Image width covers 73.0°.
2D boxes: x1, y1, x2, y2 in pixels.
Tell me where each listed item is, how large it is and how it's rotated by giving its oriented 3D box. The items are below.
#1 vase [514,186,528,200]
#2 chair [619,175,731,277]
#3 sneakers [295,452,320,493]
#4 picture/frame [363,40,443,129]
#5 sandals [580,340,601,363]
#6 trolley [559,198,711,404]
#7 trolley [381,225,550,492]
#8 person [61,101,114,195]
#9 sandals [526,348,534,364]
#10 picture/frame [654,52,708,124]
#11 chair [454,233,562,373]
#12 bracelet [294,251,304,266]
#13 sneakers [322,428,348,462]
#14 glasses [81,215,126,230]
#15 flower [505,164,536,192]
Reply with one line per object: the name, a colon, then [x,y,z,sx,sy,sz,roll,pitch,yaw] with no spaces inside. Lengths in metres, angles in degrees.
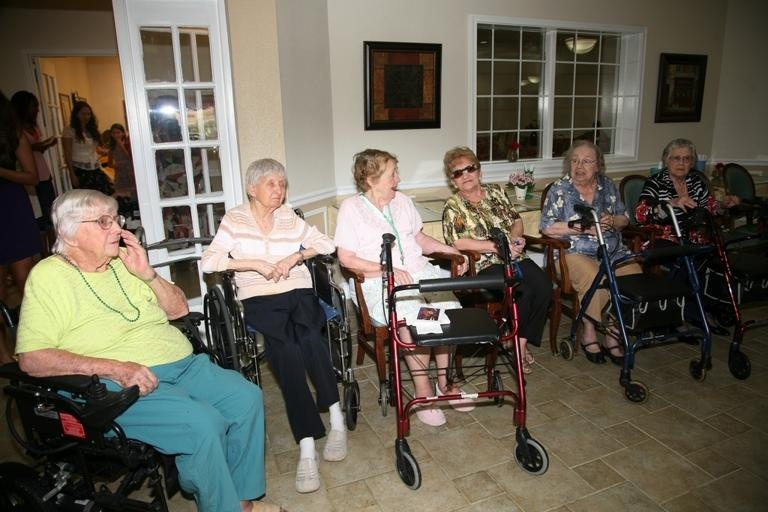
vase: [1.424,-0.658,5.446,0.139,0.158,0.150,-1,15,1]
chair: [2.639,-0.347,4.864,0.788,1.013,0.897,-4,6,-5]
sneakers: [-0.497,1.393,3.397,0.167,0.126,0.338,-7,26,-1]
picture/frame: [0.163,-1.792,5.330,0.935,0.930,0.072,-3,10,-22]
sandals: [1.748,0.815,4.369,0.079,0.092,0.230,-4,16,-8]
trolley: [2.037,0.307,4.197,0.980,1.328,1.134,-2,13,3]
trolley: [0.497,0.619,3.557,1.130,1.474,1.578,-5,10,-12]
person: [-4.097,-1.457,7.155,0.507,1.279,0.579,8,17,39]
sandals: [1.215,0.839,4.361,0.071,0.044,0.180,0,20,1]
picture/frame: [3.746,-2.170,6.603,0.864,0.865,0.065,-10,16,-29]
chair: [0.953,0.371,4.247,0.839,1.167,0.805,0,-4,-3]
bracelet: [-0.605,0.016,3.738,0.080,0.073,0.079,0,0,-9]
sneakers: [-0.337,1.248,3.590,0.163,0.110,0.328,15,34,-17]
glasses: [-1.585,-0.206,3.017,0.120,0.081,0.296,0,13,15]
flower: [1.448,-0.794,5.495,0.339,0.247,0.344,9,19,17]
